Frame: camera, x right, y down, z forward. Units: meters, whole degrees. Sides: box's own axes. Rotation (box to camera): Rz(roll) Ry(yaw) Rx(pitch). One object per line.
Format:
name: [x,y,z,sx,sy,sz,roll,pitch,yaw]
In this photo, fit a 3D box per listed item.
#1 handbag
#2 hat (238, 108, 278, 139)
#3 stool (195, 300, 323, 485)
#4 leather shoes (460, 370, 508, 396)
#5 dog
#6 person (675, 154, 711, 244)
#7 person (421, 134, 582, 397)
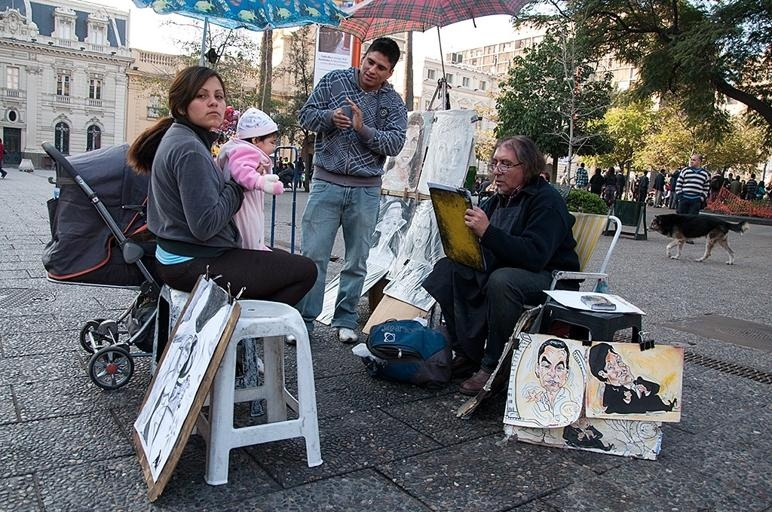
handbag: [0.186,0.819,4.565,0.570,0.300,0.442,5,31,-7]
hat: [-1.053,-1.057,4.374,0.317,0.196,0.236,-14,24,-18]
stool: [-0.779,0.800,3.777,0.979,1.231,1.017,-2,3,-26]
leather shoes: [0.831,0.982,4.274,0.455,0.183,0.177,-3,7,-10]
dog: [7.151,-0.446,12.687,1.745,1.113,2.035,13,17,30]
person: [8.577,-1.700,15.344,0.842,2.196,0.518,6,20,28]
person: [0.900,0.055,4.514,0.953,2.044,0.900,18,21,41]
